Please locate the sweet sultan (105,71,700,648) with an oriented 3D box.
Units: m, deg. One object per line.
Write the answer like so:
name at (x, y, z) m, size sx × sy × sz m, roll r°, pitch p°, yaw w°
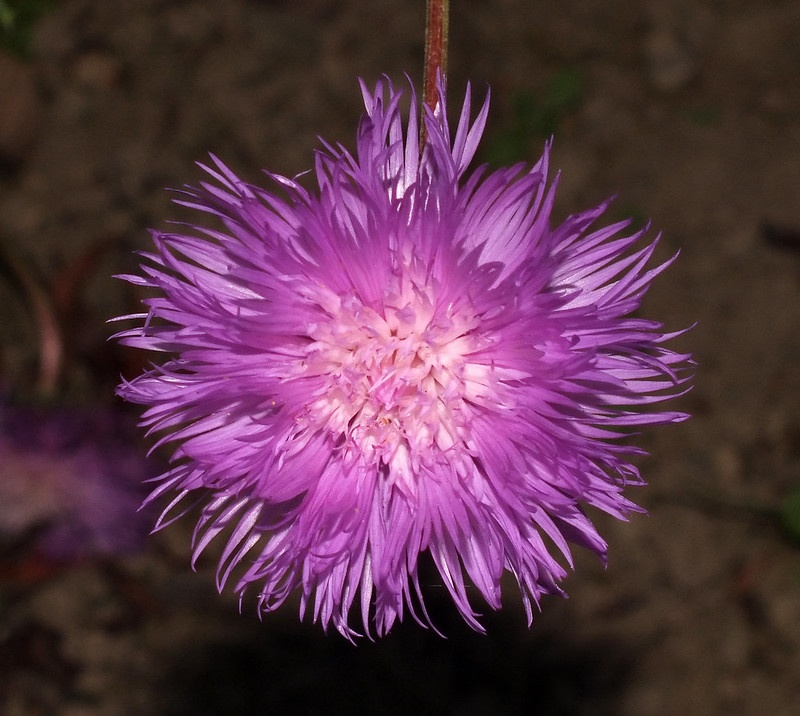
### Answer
sweet sultan at (-0.069, -0.109, 1.620) m, size 1.059 × 0.952 × 0.423 m, roll -4°, pitch -66°, yaw -19°
